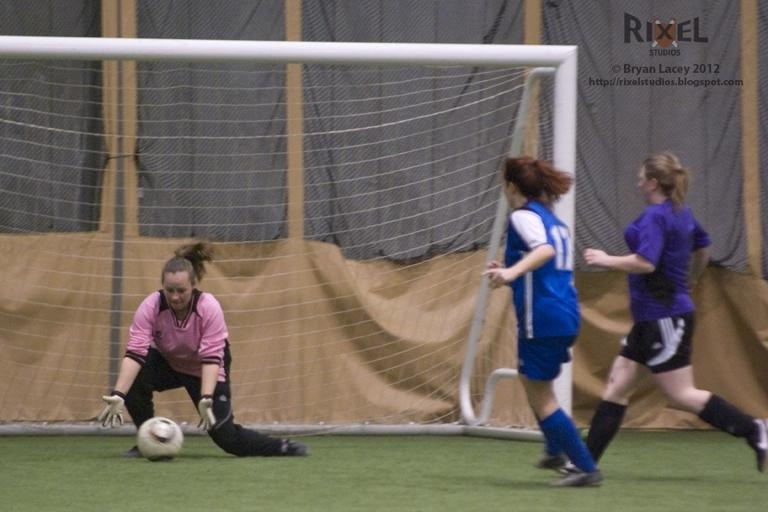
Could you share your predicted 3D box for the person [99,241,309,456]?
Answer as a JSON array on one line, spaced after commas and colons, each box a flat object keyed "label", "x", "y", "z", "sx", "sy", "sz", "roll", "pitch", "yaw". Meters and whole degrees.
[{"label": "person", "x": -1.236, "y": 0.716, "z": 11.200, "sx": 1.737, "sy": 1.376, "sz": 1.023, "roll": 1, "pitch": 4, "yaw": -12}]

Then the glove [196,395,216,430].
[{"label": "glove", "x": -1.206, "y": 1.092, "z": 10.981, "sx": 0.160, "sy": 0.220, "sz": 0.112, "roll": 36, "pitch": 51, "yaw": 26}]

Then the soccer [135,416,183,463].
[{"label": "soccer", "x": -1.564, "y": 1.304, "z": 11.089, "sx": 0.394, "sy": 0.312, "sz": 0.335, "roll": 0, "pitch": 8, "yaw": -12}]

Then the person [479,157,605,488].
[{"label": "person", "x": 1.045, "y": 0.437, "z": 10.374, "sx": 0.770, "sy": 2.142, "sz": 0.468, "roll": 0, "pitch": 7, "yaw": -2}]

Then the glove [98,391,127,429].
[{"label": "glove", "x": -1.857, "y": 1.057, "z": 10.874, "sx": 0.156, "sy": 0.237, "sz": 0.222, "roll": -1, "pitch": 6, "yaw": -14}]

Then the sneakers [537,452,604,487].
[{"label": "sneakers", "x": 1.212, "y": 1.430, "z": 10.495, "sx": 0.462, "sy": 0.159, "sz": 0.140, "roll": 7, "pitch": 1, "yaw": 9}]
